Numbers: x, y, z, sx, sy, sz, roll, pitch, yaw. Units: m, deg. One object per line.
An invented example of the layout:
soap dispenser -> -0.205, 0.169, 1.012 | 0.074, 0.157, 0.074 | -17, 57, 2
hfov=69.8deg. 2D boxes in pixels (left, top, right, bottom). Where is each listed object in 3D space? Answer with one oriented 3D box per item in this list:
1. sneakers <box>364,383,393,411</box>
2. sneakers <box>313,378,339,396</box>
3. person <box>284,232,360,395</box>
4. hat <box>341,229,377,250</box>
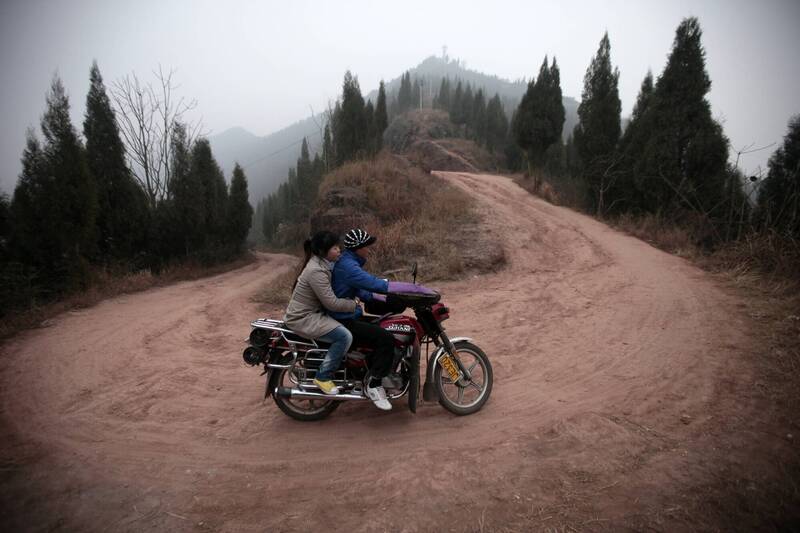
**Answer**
sneakers -> -0.359, 2.314, 10.072 | 0.612, 0.285, 0.234 | 37, 20, 28
sneakers -> -1.286, 2.105, 10.071 | 0.419, 0.222, 0.224 | 24, 19, -3
person -> -1.378, 0.803, 10.065 | 1.148, 2.765, 0.706 | 3, 12, 15
hat -> -0.736, -0.415, 10.302 | 0.488, 0.308, 0.420 | -10, 46, -5
